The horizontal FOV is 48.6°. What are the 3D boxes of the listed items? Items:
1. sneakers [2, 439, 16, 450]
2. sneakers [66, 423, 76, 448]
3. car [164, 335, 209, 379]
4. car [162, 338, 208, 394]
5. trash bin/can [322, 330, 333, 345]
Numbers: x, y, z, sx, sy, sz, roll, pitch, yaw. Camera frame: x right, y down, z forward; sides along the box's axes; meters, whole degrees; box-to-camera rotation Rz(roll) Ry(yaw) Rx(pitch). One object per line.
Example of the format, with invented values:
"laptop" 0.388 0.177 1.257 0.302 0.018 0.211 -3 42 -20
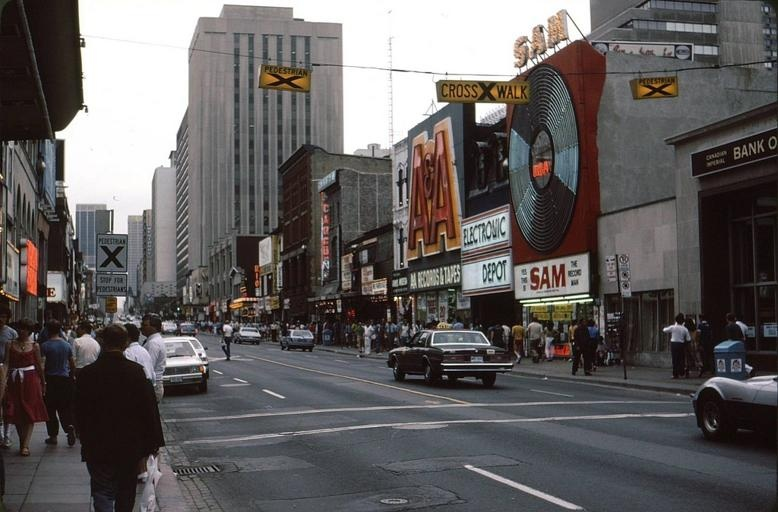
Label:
"sneakers" -8.148 4.021 18.420 0.134 0.175 0.420 2 -16 -19
"sneakers" -6.954 3.922 18.849 0.205 0.508 0.190 0 -5 -12
"car" -7.078 3.439 30.845 1.067 1.012 2.068 0 -9 -18
"car" -6.948 3.747 29.388 1.670 1.492 3.163 0 -8 -16
"trash bin/can" -4.859 6.362 67.312 0.929 1.811 1.048 2 -5 -5
